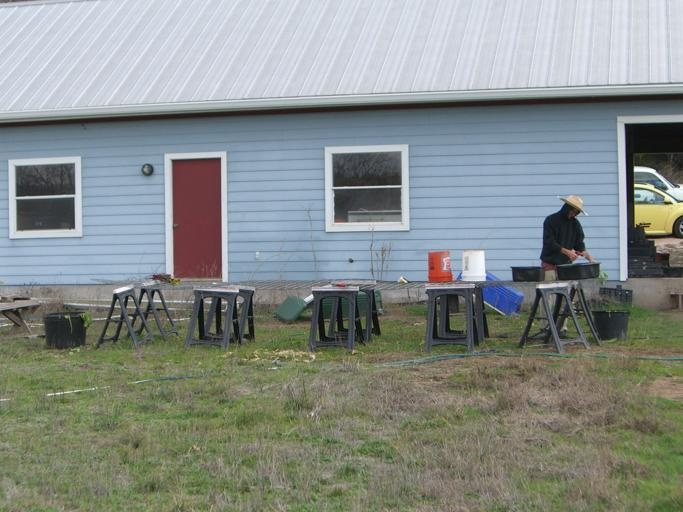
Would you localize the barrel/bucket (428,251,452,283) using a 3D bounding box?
[{"bbox_3d":[1.499,0.177,15.734,0.476,0.487,0.506,-1,0,0],"label":"barrel/bucket"}]

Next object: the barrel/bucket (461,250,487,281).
[{"bbox_3d":[1.991,0.148,15.458,0.342,0.453,0.404,-1,1,5],"label":"barrel/bucket"}]
